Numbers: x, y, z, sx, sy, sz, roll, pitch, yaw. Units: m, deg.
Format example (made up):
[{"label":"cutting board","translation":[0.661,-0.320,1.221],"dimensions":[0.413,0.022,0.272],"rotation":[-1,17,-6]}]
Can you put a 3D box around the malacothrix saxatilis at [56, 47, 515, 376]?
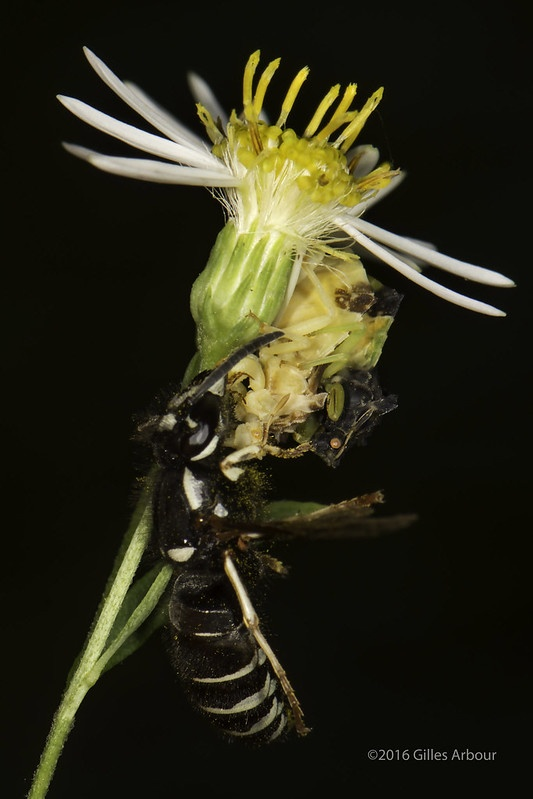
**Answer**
[{"label":"malacothrix saxatilis","translation":[-0.001,-0.412,1.734],"dimensions":[0.642,1.017,0.669],"rotation":[-9,17,-32]}]

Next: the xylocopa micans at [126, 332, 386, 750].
[{"label":"xylocopa micans","translation":[-0.009,0.304,1.629],"dimensions":[0.475,0.830,0.364],"rotation":[-16,14,4]}]
